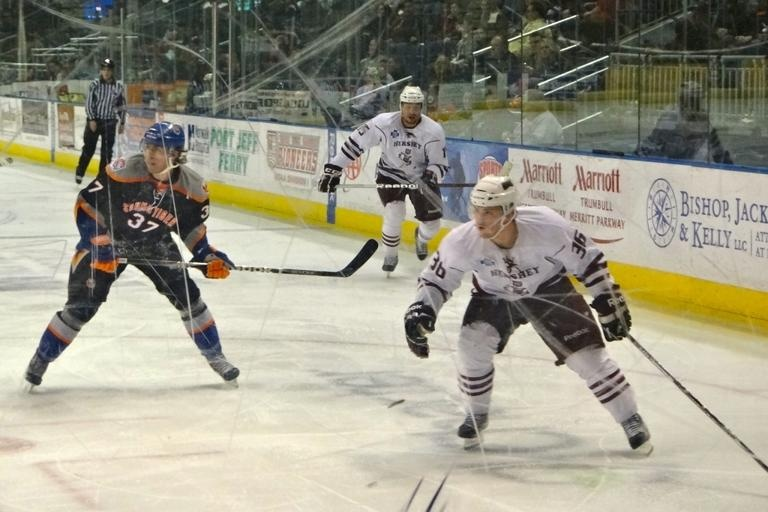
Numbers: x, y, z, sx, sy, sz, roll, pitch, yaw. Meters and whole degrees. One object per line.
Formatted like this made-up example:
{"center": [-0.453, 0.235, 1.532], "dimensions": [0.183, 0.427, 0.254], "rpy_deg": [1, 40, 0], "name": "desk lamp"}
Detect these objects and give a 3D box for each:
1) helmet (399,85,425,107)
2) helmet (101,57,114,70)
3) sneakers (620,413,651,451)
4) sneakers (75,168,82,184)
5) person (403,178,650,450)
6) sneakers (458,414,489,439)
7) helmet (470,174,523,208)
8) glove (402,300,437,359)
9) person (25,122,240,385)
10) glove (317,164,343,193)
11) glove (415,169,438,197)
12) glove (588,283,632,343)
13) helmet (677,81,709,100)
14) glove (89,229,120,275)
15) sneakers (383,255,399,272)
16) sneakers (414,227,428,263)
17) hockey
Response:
{"center": [0.223, -1.337, 7.734], "dimensions": [0.203, 0.201, 0.219], "rpy_deg": [0, 1, -1], "name": "helmet"}
{"center": [-2.439, -1.684, 8.178], "dimensions": [0.111, 0.088, 0.123], "rpy_deg": [5, 17, -11], "name": "helmet"}
{"center": [1.335, 0.934, 4.882], "dimensions": [0.161, 0.201, 0.087], "rpy_deg": [0, 9, -5], "name": "sneakers"}
{"center": [-3.050, -0.799, 9.268], "dimensions": [0.056, 0.154, 0.110], "rpy_deg": [3, 18, -16], "name": "sneakers"}
{"center": [0.769, 0.294, 4.922], "dimensions": [1.281, 1.381, 0.286], "rpy_deg": [2, 9, 4], "name": "person"}
{"center": [0.467, 0.918, 5.005], "dimensions": [0.081, 0.086, 0.221], "rpy_deg": [2, 5, 38], "name": "sneakers"}
{"center": [0.568, -0.332, 4.832], "dimensions": [0.215, 0.185, 0.164], "rpy_deg": [2, 0, -35], "name": "helmet"}
{"center": [0.177, 0.398, 4.874], "dimensions": [0.120, 0.261, 0.201], "rpy_deg": [2, 2, -37], "name": "glove"}
{"center": [-1.456, 0.006, 5.441], "dimensions": [1.164, 1.551, 0.289], "rpy_deg": [-1, 9, -15], "name": "person"}
{"center": [-0.440, -0.646, 7.932], "dimensions": [0.207, 0.237, 0.100], "rpy_deg": [16, -5, 25], "name": "glove"}
{"center": [0.361, -0.607, 7.850], "dimensions": [0.230, 0.207, 0.066], "rpy_deg": [2, 10, -1], "name": "glove"}
{"center": [1.251, 0.375, 5.054], "dimensions": [0.132, 0.268, 0.355], "rpy_deg": [-12, 14, 8], "name": "glove"}
{"center": [2.721, -1.441, 8.165], "dimensions": [0.210, 0.095, 0.286], "rpy_deg": [-1, 5, 11], "name": "helmet"}
{"center": [-1.618, -0.011, 5.357], "dimensions": [0.163, 0.208, 0.066], "rpy_deg": [2, -8, -10], "name": "glove"}
{"center": [0.048, 0.068, 7.825], "dimensions": [0.122, 0.139, 0.119], "rpy_deg": [1, 9, -3], "name": "sneakers"}
{"center": [0.318, -0.093, 8.175], "dimensions": [0.104, 0.276, 0.120], "rpy_deg": [-15, 20, -14], "name": "sneakers"}
{"center": [-0.969, 0.027, 6.662], "dimensions": [1.613, 0.150, 0.220], "rpy_deg": [3, 52, -16], "name": "hockey"}
